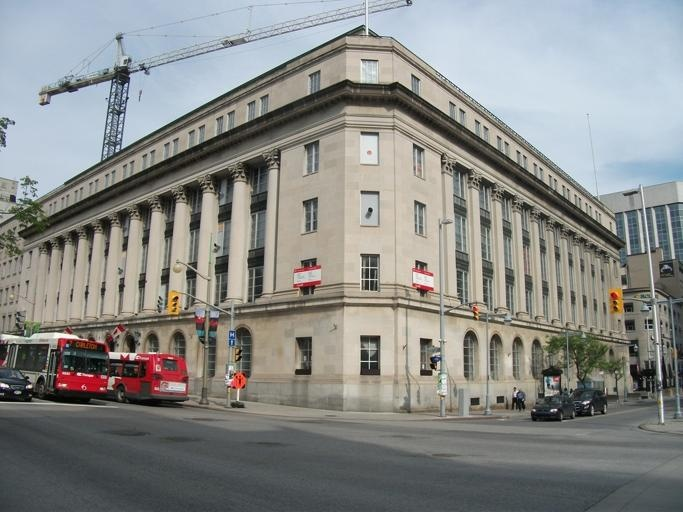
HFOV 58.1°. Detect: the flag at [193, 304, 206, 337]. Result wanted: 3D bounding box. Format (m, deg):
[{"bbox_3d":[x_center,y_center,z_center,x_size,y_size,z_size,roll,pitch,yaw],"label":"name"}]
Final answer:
[{"bbox_3d":[-9.992,4.677,43.256,0.692,2.073,2.914,3,-8,-13],"label":"flag"}]
